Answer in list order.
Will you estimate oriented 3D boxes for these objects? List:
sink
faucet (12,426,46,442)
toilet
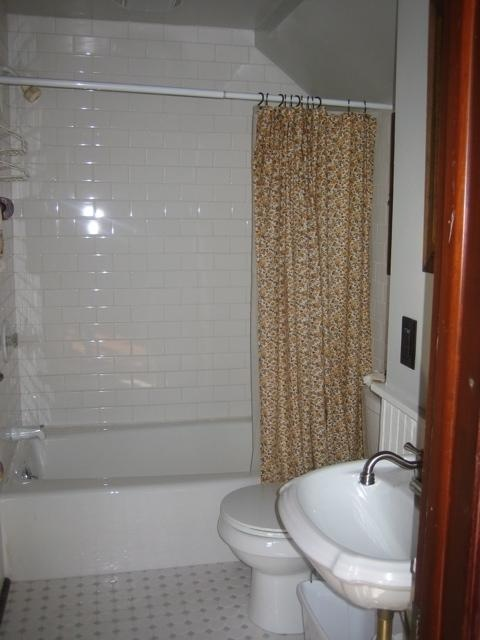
[{"bbox_3d":[0.242,0.447,1.163,0.317,0.137,0.383,-1,9,-7],"label":"sink"},{"bbox_3d":[-1.179,0.629,2.934,0.118,0.031,0.076,-3,6,-34],"label":"faucet"},{"bbox_3d":[0.105,0.958,2.193,0.512,0.525,0.547,-1,-3,1],"label":"toilet"}]
